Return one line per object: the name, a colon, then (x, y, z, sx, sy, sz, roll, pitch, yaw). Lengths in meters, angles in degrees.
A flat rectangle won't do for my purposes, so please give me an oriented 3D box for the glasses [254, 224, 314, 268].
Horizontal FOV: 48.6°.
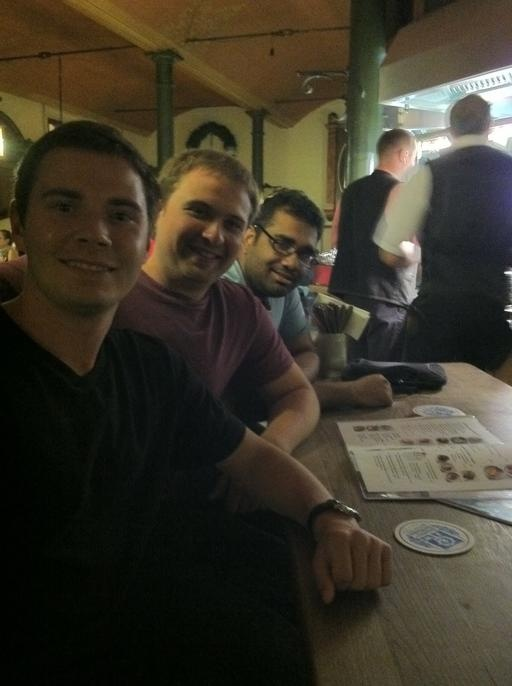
glasses: (0.094, -0.361, 2.162, 0.190, 0.056, 0.180, 14, 25, -50)
